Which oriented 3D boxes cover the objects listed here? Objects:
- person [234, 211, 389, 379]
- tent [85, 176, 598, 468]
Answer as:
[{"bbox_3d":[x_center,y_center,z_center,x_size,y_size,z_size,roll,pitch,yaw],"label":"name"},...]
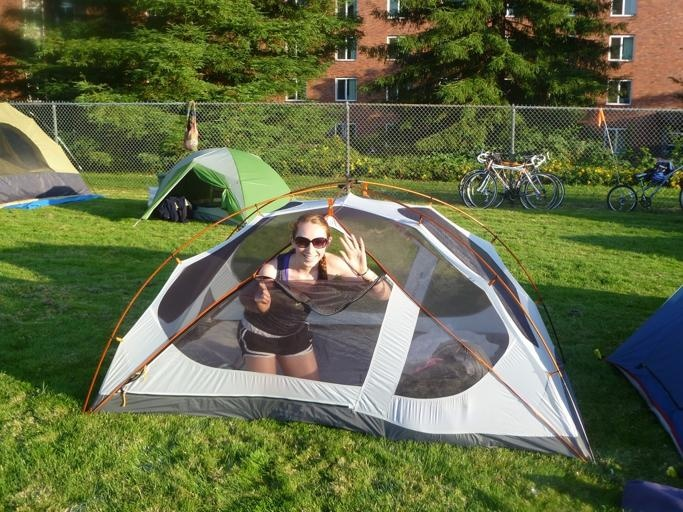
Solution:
[{"bbox_3d":[-0.310,0.344,5.298,1.166,1.346,0.530,-2,20,-10],"label":"person"},{"bbox_3d":[0.286,0.577,6.333,3.091,1.521,2.711,3,16,5],"label":"tent"}]
